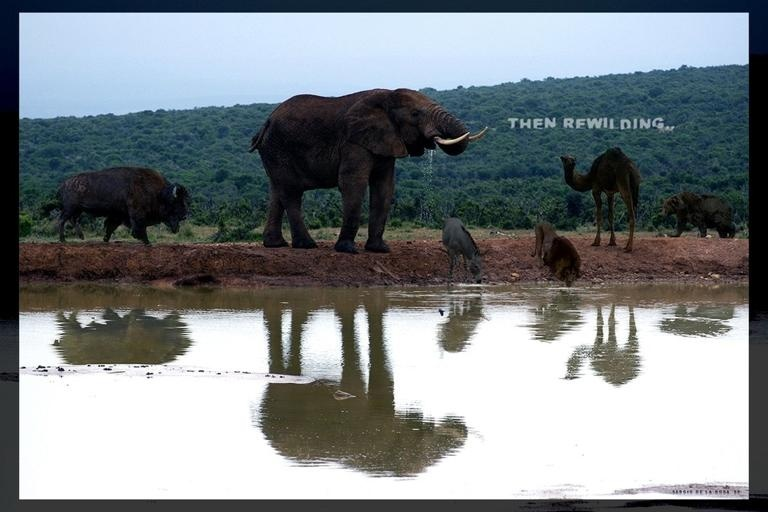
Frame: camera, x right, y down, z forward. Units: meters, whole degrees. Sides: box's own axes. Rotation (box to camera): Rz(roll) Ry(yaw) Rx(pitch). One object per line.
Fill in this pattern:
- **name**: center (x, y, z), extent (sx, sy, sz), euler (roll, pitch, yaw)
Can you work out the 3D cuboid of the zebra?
- **zebra**: center (1.688, -0.202, 22.088), extent (0.611, 1.276, 2.287), euler (-6, 20, -17)
